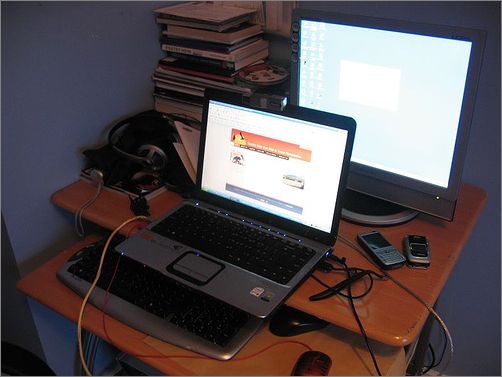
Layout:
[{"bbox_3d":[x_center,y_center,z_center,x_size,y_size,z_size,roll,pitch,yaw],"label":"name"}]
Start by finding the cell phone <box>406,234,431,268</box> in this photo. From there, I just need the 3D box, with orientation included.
[{"bbox_3d":[0.466,0.172,1.128,0.053,0.030,0.091,4,42,10],"label":"cell phone"}]

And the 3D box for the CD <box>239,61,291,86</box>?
[{"bbox_3d":[0.066,-0.436,1.546,0.168,0.045,0.240,18,31,27],"label":"CD"}]

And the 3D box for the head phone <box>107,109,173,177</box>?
[{"bbox_3d":[-0.410,-0.163,1.484,0.262,0.126,0.214,28,39,14],"label":"head phone"}]

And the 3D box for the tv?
[{"bbox_3d":[0.363,-0.197,1.131,0.099,0.560,0.581,-18,29,-36],"label":"tv"}]

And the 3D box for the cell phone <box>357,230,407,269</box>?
[{"bbox_3d":[0.369,0.174,1.139,0.063,0.035,0.123,-22,42,-19],"label":"cell phone"}]

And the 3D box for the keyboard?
[{"bbox_3d":[-0.277,0.329,1.106,0.517,0.070,0.249,23,56,29],"label":"keyboard"}]
